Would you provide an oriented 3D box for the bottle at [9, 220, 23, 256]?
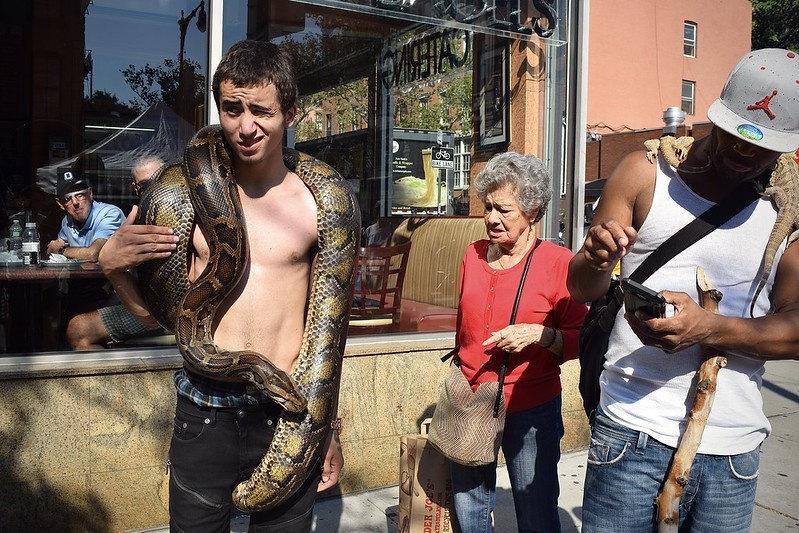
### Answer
[{"bbox_3d":[-3.492,-0.270,7.184,0.110,0.302,0.113,1,13,0],"label":"bottle"}]

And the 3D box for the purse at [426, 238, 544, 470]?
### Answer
[{"bbox_3d":[0.630,0.521,5.737,0.561,1.840,0.278,18,6,36],"label":"purse"}]

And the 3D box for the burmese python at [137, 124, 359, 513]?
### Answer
[{"bbox_3d":[-0.883,0.244,5.024,1.350,2.590,0.349,-15,-16,-3],"label":"burmese python"}]

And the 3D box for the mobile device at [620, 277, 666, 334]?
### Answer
[{"bbox_3d":[1.456,0.201,4.747,0.282,0.198,0.174,7,15,22],"label":"mobile device"}]
